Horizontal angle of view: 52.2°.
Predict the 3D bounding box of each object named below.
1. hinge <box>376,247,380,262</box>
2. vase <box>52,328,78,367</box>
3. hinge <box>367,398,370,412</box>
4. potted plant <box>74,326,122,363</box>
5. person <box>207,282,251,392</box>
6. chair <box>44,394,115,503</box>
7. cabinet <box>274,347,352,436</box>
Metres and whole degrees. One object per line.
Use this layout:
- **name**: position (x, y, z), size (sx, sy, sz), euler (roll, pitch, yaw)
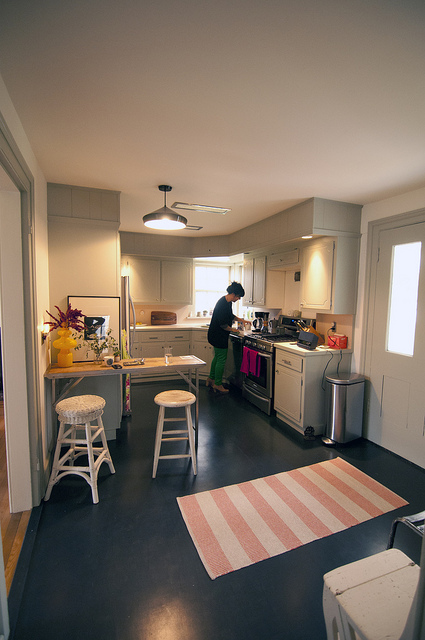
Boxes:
- **hinge**: position (1.391, -0.542, 3.628), size (0.009, 0.119, 0.028), euler (-2, 8, -19)
- **vase**: position (-1.102, 0.199, 3.204), size (0.158, 0.306, 0.287), euler (-2, 8, -21)
- **hinge**: position (1.347, 0.733, 3.729), size (0.007, 0.118, 0.025), euler (-2, 8, -20)
- **potted plant**: position (-0.898, 0.203, 3.465), size (0.242, 0.233, 0.232), euler (-3, -5, -32)
- **person**: position (0.154, 0.210, 5.232), size (0.414, 1.314, 0.387), euler (1, 8, 1)
- **chair**: position (-0.852, 0.818, 2.825), size (0.396, 0.578, 0.405), euler (3, 7, 27)
- **cabinet**: position (0.903, 0.596, 4.060), size (0.613, 0.778, 0.585), euler (11, 15, 44)
